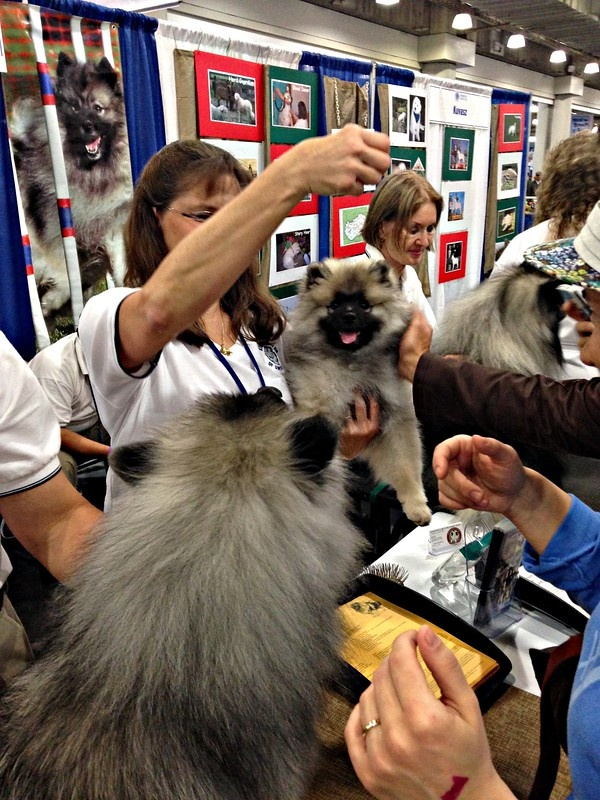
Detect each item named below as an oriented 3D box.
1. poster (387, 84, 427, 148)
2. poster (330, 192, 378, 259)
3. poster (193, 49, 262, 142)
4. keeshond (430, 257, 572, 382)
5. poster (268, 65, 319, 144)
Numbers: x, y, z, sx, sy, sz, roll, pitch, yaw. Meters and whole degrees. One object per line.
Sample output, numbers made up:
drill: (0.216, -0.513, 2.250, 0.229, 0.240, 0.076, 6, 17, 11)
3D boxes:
poster: (1.079, -2.878, 5.830, 0.066, 0.556, 0.675, 15, 28, 43)
poster: (0.545, -1.559, 5.192, 0.550, 0.523, 0.051, 9, 16, 39)
poster: (-0.448, -2.123, 4.051, 0.623, 0.530, 0.065, 21, 40, 24)
keeshond: (0.762, -0.265, 2.236, 0.534, 0.327, 0.325, -7, 39, 43)
poster: (-0.023, -2.314, 4.533, 0.059, 0.537, 0.650, -27, 42, -30)
